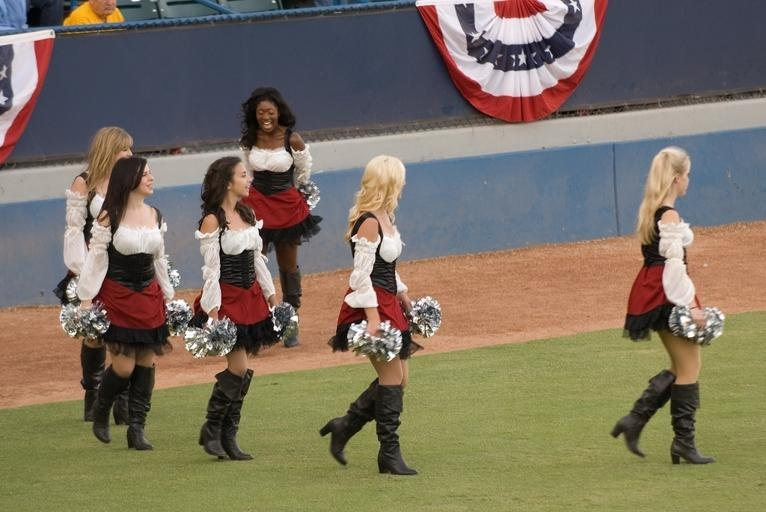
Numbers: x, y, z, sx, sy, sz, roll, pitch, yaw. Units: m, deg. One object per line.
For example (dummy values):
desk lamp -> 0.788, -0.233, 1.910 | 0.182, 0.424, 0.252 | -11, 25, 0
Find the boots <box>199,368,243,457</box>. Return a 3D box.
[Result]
boots -> -1.690, 1.666, 12.017 | 0.531, 0.880, 0.312 | -11, 16, -28

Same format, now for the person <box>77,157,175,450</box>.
person -> -2.812, 0.467, 12.357 | 0.802, 3.020, 1.011 | 4, 16, 26

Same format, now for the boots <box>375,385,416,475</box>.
boots -> 0.114, 1.761, 11.587 | 0.383, 0.845, 0.502 | -4, 14, -5

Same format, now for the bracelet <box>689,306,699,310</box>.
bracelet -> 3.223, 0.529, 11.740 | 0.106, 0.022, 0.082 | -1, 14, 7

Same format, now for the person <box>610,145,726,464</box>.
person -> 2.992, 0.489, 11.872 | 0.888, 3.085, 1.299 | 0, 15, 11

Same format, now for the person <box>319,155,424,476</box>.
person -> -0.137, 0.592, 11.699 | 0.891, 3.125, 1.186 | -1, 14, 9

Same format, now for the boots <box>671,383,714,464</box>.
boots -> 3.200, 1.734, 11.695 | 0.430, 0.747, 0.461 | 0, 15, 13
